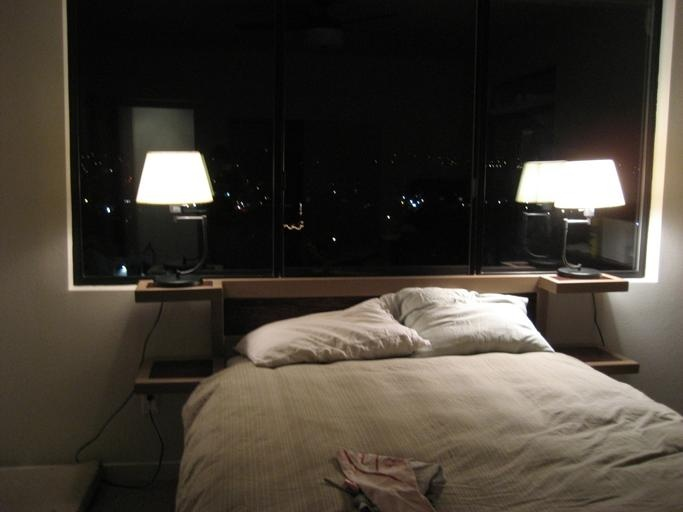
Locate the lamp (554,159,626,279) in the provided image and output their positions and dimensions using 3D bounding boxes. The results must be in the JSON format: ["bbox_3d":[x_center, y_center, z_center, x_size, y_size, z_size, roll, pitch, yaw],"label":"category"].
[{"bbox_3d":[1.544,-0.249,3.458,0.406,0.732,0.356,0,6,2],"label":"lamp"}]

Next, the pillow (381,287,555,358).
[{"bbox_3d":[0.735,0.365,3.016,0.567,0.182,0.536,0,25,-6],"label":"pillow"}]

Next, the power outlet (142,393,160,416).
[{"bbox_3d":[-1.111,0.854,3.130,0.114,0.124,0.217,-1,-10,-15],"label":"power outlet"}]

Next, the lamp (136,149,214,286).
[{"bbox_3d":[-0.948,-0.191,3.113,0.429,0.729,0.426,-5,-5,3],"label":"lamp"}]
